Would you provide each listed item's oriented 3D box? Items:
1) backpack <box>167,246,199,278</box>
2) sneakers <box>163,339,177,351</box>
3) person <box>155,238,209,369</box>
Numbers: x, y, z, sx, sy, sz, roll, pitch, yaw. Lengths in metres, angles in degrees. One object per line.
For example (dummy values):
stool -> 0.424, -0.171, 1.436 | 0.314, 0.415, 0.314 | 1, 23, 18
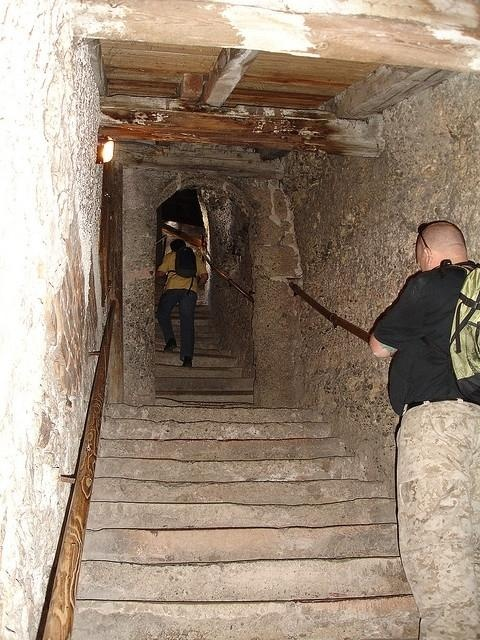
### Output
backpack -> -0.513, -0.511, 5.629 | 0.277, 0.457, 0.231 | -1, -7, -3
sneakers -> -0.735, 0.257, 6.277 | 0.074, 0.207, 0.083 | 1, 57, -13
person -> -0.605, -0.118, 6.042 | 0.474, 1.374, 0.727 | 3, 15, -6
